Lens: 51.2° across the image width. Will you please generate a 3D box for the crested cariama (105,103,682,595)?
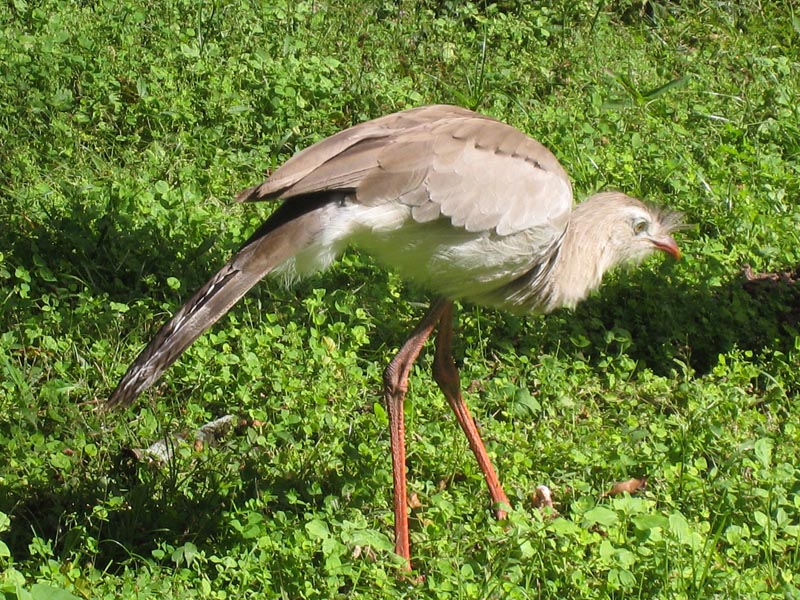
[{"bbox_3d":[0.077,0.203,3.886,2.637,2.131,0.867,4,-1,-18],"label":"crested cariama"}]
